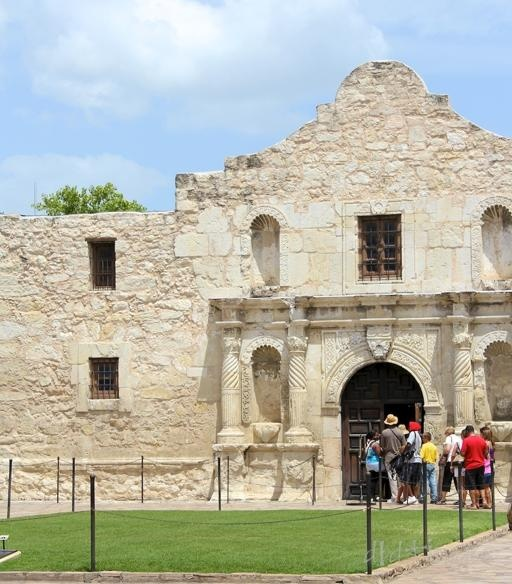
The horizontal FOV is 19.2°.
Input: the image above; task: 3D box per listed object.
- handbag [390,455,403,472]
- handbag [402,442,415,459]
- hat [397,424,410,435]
[{"bbox_3d":[2.464,3.053,26.509,0.098,0.291,0.204,3,-2,-21],"label":"handbag"},{"bbox_3d":[2.654,2.810,26.306,0.198,0.279,0.281,5,-24,-4],"label":"handbag"},{"bbox_3d":[2.675,2.541,27.535,0.274,0.089,0.302,-5,-9,6],"label":"hat"}]
